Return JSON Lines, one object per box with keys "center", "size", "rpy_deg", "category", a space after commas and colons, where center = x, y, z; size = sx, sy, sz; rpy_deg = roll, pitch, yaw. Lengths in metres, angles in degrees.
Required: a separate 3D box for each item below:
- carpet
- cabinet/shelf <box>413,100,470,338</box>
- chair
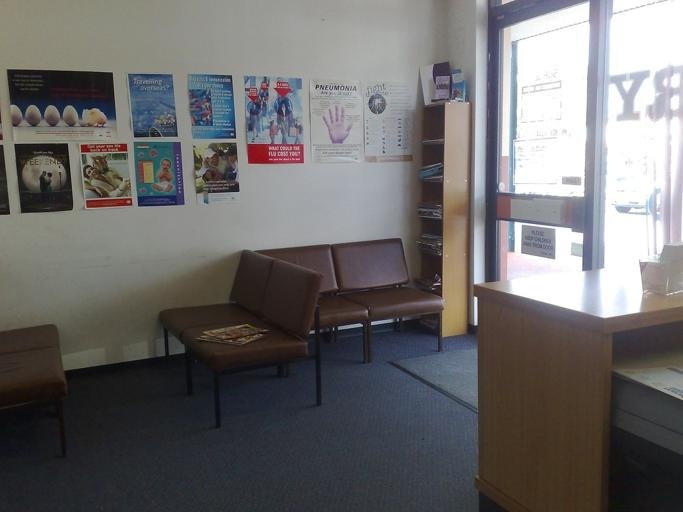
{"center": [0.795, 0.972, 4.376], "size": [0.712, 0.052, 1.194], "rpy_deg": [2, 14, 13], "category": "carpet"}
{"center": [1.071, -0.393, 5.282], "size": [0.296, 2.381, 0.524], "rpy_deg": [-4, 11, -16], "category": "cabinet/shelf"}
{"center": [-0.258, 0.461, 4.468], "size": [2.294, 1.028, 1.252], "rpy_deg": [-12, 17, -40], "category": "chair"}
